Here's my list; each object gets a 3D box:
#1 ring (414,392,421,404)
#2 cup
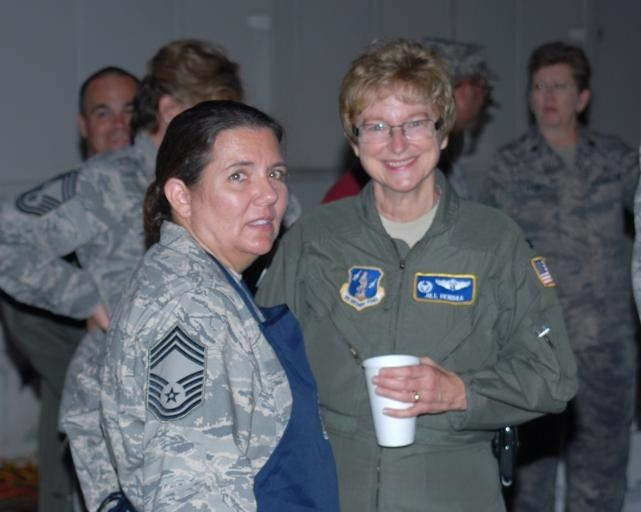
[{"bbox_3d":[0.389,0.571,3.166,0.026,0.040,0.013,-5,1,2],"label":"ring"},{"bbox_3d":[0.281,0.598,3.382,0.333,0.430,0.356,-3,-1,0],"label":"cup"}]
